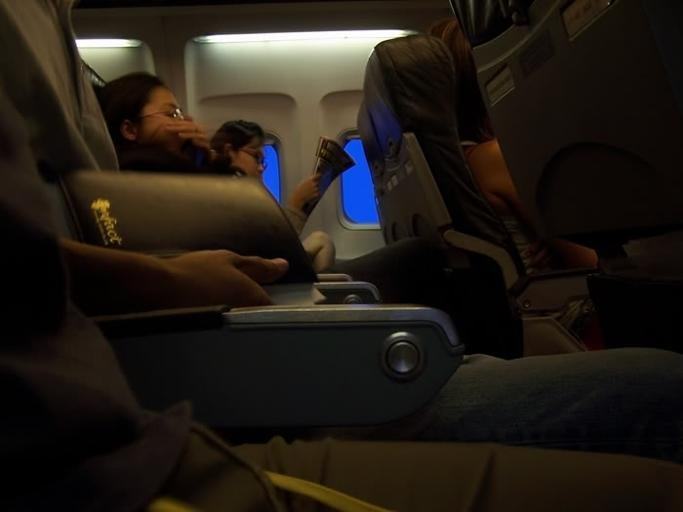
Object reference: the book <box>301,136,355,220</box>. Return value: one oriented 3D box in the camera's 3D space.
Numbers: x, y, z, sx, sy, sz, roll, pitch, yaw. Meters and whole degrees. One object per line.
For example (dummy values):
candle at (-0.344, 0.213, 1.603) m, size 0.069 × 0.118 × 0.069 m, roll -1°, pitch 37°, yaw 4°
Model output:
book at (-0.106, -0.523, 3.698) m, size 0.559 × 0.290 × 0.238 m, roll -50°, pitch -2°, yaw 39°
